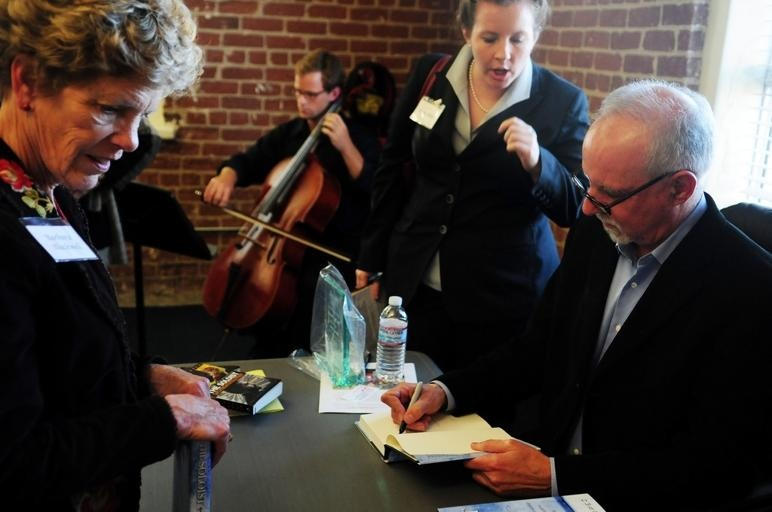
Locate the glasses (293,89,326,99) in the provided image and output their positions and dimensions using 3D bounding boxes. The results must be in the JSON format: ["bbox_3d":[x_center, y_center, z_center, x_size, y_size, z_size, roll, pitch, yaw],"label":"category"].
[{"bbox_3d":[-0.409,-0.838,3.458,0.172,0.040,0.071,12,22,21],"label":"glasses"}]

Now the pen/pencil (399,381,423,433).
[{"bbox_3d":[0.075,0.460,2.003,0.016,0.016,0.158,-10,38,44],"label":"pen/pencil"}]

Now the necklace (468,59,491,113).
[{"bbox_3d":[0.343,-0.647,2.586,0.126,0.168,0.025,-17,11,-27],"label":"necklace"}]

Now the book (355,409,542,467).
[{"bbox_3d":[0.152,0.526,1.919,0.224,0.050,0.239,-2,14,-21],"label":"book"}]

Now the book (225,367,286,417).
[{"bbox_3d":[-0.388,0.424,2.039,0.122,0.029,0.121,-26,37,-23],"label":"book"}]
